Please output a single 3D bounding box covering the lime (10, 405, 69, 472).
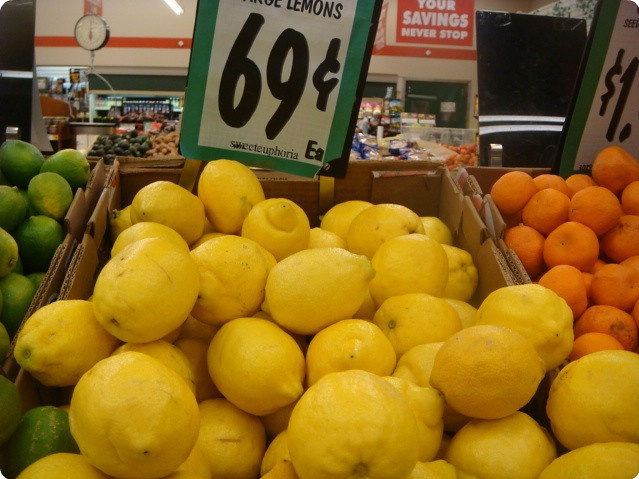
[{"bbox_3d":[-0.647,0.457,1.121,0.106,0.159,0.114,-3,-16,-12],"label":"lime"}]

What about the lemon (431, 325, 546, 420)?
[{"bbox_3d":[0.422,0.335,1.162,0.237,0.224,0.199,-13,3,5],"label":"lemon"}]
